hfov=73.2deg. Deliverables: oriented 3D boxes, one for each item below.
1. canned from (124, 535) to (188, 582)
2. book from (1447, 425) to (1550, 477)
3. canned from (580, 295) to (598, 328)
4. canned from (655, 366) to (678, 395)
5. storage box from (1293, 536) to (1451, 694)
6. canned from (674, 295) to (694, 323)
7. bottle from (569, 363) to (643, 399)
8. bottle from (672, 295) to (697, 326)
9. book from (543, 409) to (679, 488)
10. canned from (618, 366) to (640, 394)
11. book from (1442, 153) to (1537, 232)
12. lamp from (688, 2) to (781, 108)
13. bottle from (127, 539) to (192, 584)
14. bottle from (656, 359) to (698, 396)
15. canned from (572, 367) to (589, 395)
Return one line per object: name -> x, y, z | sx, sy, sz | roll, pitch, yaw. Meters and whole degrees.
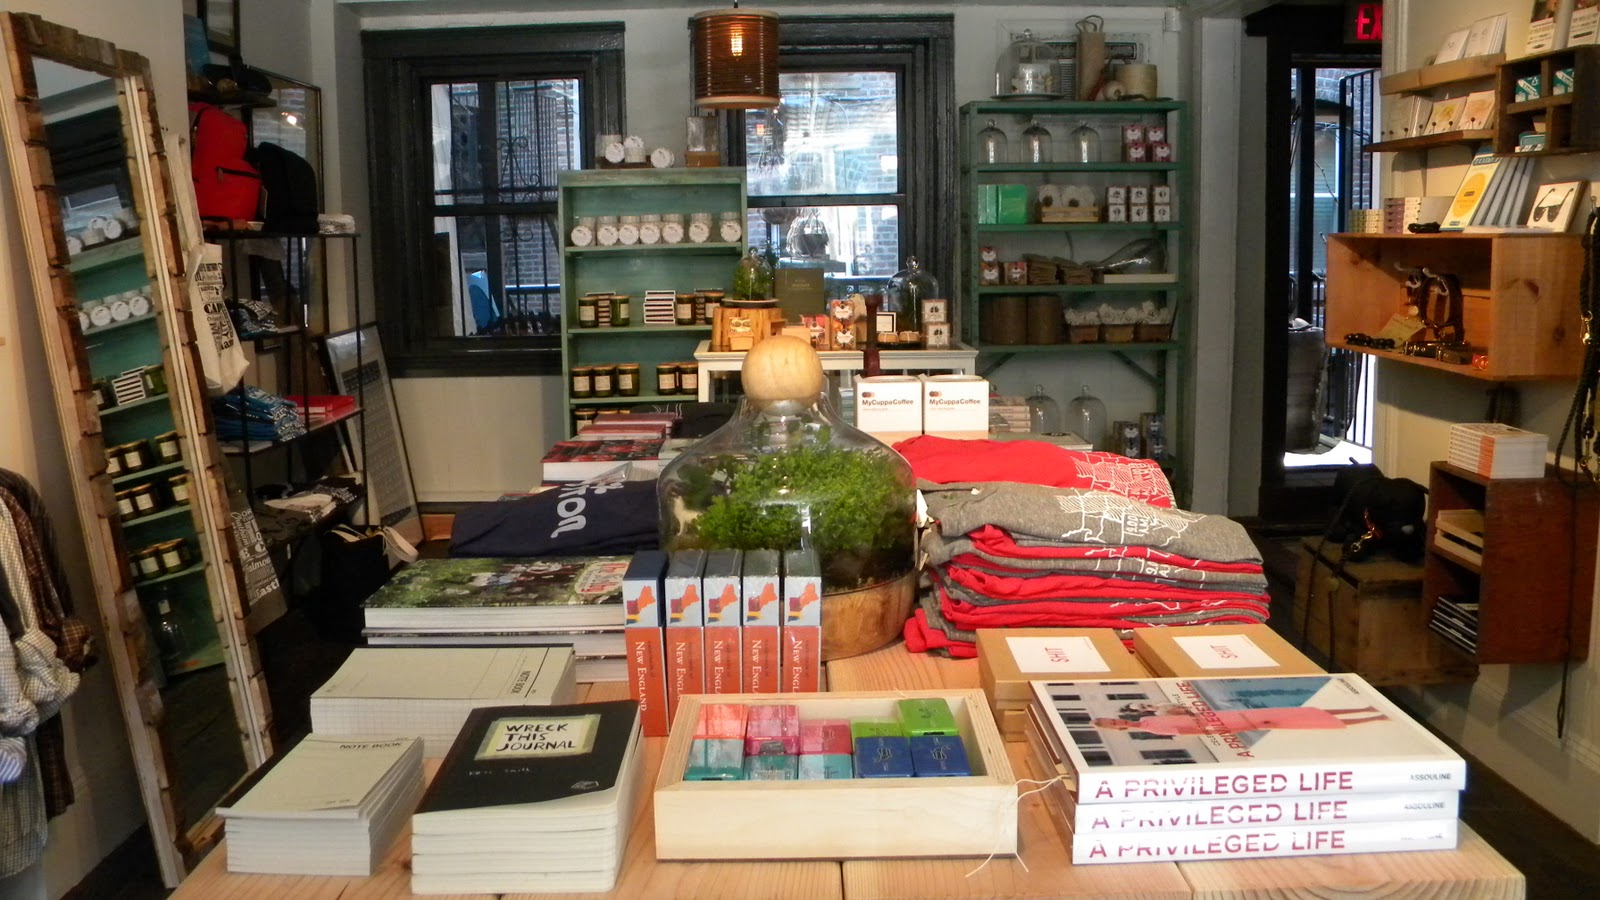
canned -> -2.550, 0.432, 4.297 | 0.142, 0.103, 0.234 | -3, 3, 1
book -> 2.913, 0.003, 4.545 | 0.250, 0.140, 0.349 | 5, 8, 43
canned -> -1.493, -0.969, 7.545 | 0.154, 0.193, 0.102 | -3, 15, 4
canned -> -0.928, -0.485, 7.571 | 0.215, 0.192, 0.195 | 0, 2, -2
storage box -> 2.722, 0.791, 5.437 | 0.679, 0.685, 1.074 | -1, 5, -3
canned -> -0.803, -0.976, 7.526 | 0.195, 0.196, 0.166 | 0, 1, -1
bottle -> -1.367, -0.485, 7.562 | 0.388, 0.152, 0.256 | 0, 2, -4
bottle -> -0.797, -0.972, 7.529 | 0.212, 0.193, 0.192 | 0, 0, -2
book -> -0.797, -0.002, 4.513 | 0.467, 0.092, 0.428 | -3, 10, 1
canned -> -1.208, -0.496, 7.583 | 0.212, 0.187, 0.191 | 0, 1, 0
book -> 3.018, -1.122, 4.743 | 0.092, 0.334, 0.360 | 16, 12, -3
lamp -> -0.360, -2.203, 6.177 | 0.628, 0.534, 0.567 | -1, 5, -3
bottle -> -2.539, 0.432, 4.292 | 0.142, 0.109, 0.249 | -3, 3, -1
bottle -> -0.861, -0.489, 7.598 | 0.426, 0.235, 0.214 | 0, 0, -3
canned -> -1.532, -0.475, 7.558 | 0.141, 0.196, 0.091 | -7, 15, -11
